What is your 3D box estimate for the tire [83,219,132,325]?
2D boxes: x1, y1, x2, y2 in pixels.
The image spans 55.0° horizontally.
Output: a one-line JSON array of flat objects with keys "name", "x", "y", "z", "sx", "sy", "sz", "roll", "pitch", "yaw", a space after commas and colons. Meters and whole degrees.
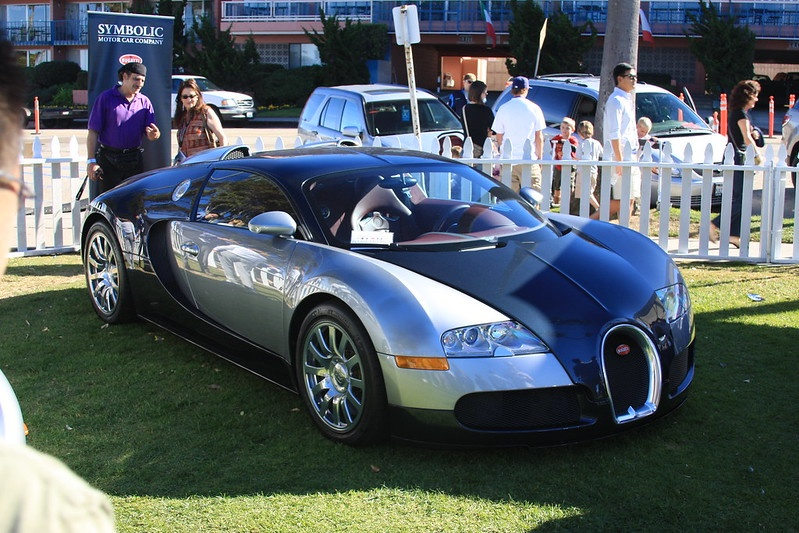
[{"name": "tire", "x": -2.596, "y": 0.034, "z": 6.893, "sx": 0.212, "sy": 0.662, "sz": 0.603, "roll": -8, "pitch": 47, "yaw": -37}]

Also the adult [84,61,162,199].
[{"name": "adult", "x": -3.285, "y": -1.311, "z": 9.137, "sx": 0.813, "sy": 2.122, "sz": 0.639, "roll": -9, "pitch": 32, "yaw": -41}]

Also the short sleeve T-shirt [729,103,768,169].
[{"name": "short sleeve T-shirt", "x": 4.709, "y": -1.687, "z": 10.405, "sx": 0.424, "sy": 0.855, "sz": 0.532, "roll": 1, "pitch": 8, "yaw": 15}]

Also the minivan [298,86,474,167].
[{"name": "minivan", "x": -0.287, "y": -2.599, "z": 13.396, "sx": 1.626, "sy": 1.518, "sz": 2.785, "roll": -9, "pitch": 13, "yaw": -35}]

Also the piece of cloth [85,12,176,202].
[{"name": "piece of cloth", "x": -3.474, "y": -2.137, "z": 10.061, "sx": 1.092, "sy": 2.959, "sz": 0.102, "roll": -1, "pitch": -23, "yaw": -19}]

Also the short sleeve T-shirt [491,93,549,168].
[{"name": "short sleeve T-shirt", "x": 1.654, "y": -1.878, "z": 10.749, "sx": 0.680, "sy": 0.942, "sz": 0.311, "roll": 4, "pitch": -7, "yaw": 30}]

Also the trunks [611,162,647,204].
[{"name": "trunks", "x": 2.781, "y": -0.990, "z": 9.304, "sx": 0.317, "sy": 0.401, "sz": 0.352, "roll": -2, "pitch": 8, "yaw": -6}]

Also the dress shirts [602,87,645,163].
[{"name": "dress shirts", "x": 2.859, "y": -1.806, "z": 9.928, "sx": 0.578, "sy": 1.268, "sz": 1.224, "roll": 0, "pitch": 16, "yaw": 18}]

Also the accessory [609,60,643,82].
[{"name": "accessory", "x": 2.928, "y": -2.496, "z": 9.933, "sx": 0.286, "sy": 0.239, "sz": 0.255, "roll": 4, "pitch": 1, "yaw": -6}]

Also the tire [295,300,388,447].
[{"name": "tire", "x": -0.346, "y": 0.677, "z": 4.906, "sx": 0.260, "sy": 0.970, "sz": 0.793, "roll": -5, "pitch": 2, "yaw": -39}]

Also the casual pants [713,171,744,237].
[{"name": "casual pants", "x": 3.930, "y": -0.750, "z": 9.234, "sx": 0.316, "sy": 0.799, "sz": 0.619, "roll": 4, "pitch": 1, "yaw": 23}]

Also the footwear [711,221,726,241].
[{"name": "footwear", "x": 3.852, "y": -0.440, "z": 9.315, "sx": 0.100, "sy": 0.137, "sz": 0.395, "roll": 18, "pitch": 11, "yaw": 13}]

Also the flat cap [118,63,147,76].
[{"name": "flat cap", "x": -3.097, "y": -2.274, "z": 8.898, "sx": 0.238, "sy": 0.137, "sz": 0.190, "roll": 1, "pitch": 13, "yaw": 26}]

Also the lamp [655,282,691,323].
[{"name": "lamp", "x": 1.859, "y": 0.233, "z": 5.227, "sx": 0.086, "sy": 0.214, "sz": 0.303, "roll": -28, "pitch": -12, "yaw": 39}]

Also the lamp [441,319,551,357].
[{"name": "lamp", "x": 0.572, "y": 0.444, "z": 4.624, "sx": 0.642, "sy": 0.193, "sz": 0.076, "roll": 5, "pitch": 1, "yaw": -3}]
